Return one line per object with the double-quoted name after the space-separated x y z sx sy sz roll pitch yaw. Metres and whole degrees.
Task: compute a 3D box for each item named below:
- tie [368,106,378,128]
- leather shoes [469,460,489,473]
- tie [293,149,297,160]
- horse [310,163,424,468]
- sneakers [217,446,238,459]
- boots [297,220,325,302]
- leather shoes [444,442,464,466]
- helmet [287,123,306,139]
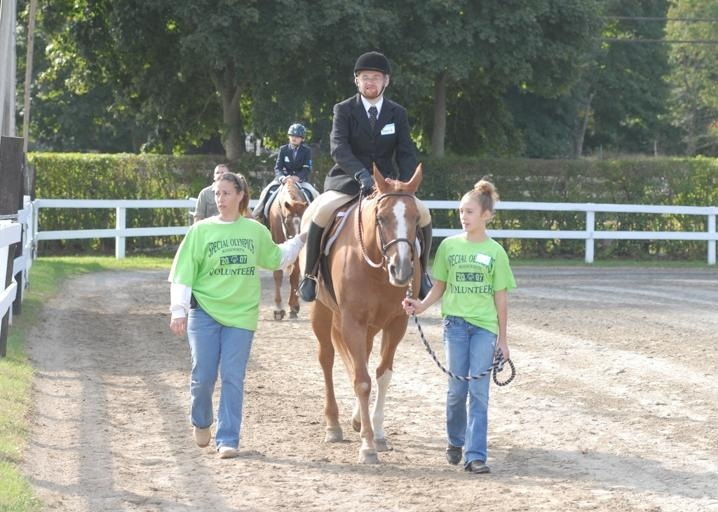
0.291 -2.646 24.271 0.198 0.363 0.083 3 -4 -9 "tie"
2.163 3.751 22.576 0.160 0.171 0.354 3 -8 -34 "leather shoes"
-1.516 -2.401 30.061 0.103 0.215 0.036 0 2 -9 "tie"
0.179 1.100 24.848 1.781 5.160 7.129 1 -3 -10 "horse"
-2.346 3.523 22.937 0.399 0.242 0.248 0 2 -19 "sneakers"
-0.912 0.133 24.418 0.434 1.568 0.458 6 -12 -1 "boots"
1.731 3.568 22.832 0.194 0.416 0.171 4 -31 -11 "leather shoes"
-1.457 -2.934 29.962 0.317 0.377 0.449 8 26 0 "helmet"
